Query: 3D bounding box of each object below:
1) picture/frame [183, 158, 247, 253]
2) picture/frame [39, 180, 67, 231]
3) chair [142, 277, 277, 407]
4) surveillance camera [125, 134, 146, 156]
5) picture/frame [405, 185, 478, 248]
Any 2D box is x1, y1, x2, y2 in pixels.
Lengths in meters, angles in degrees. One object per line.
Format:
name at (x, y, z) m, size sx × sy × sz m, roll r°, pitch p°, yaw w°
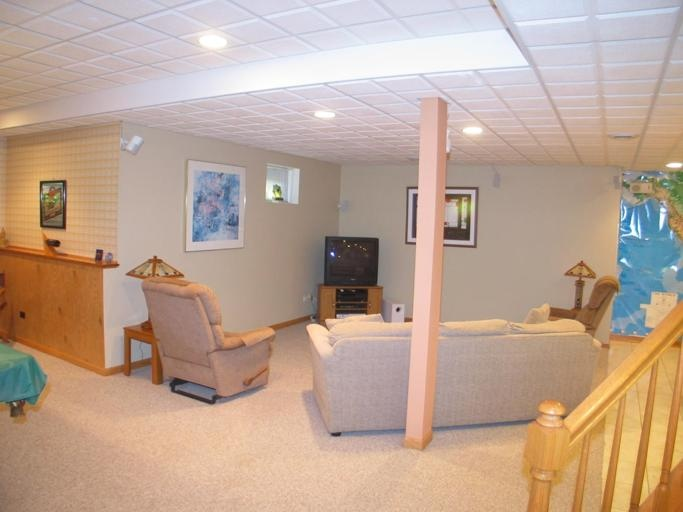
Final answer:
picture/frame at (-1.673, -0.668, 6.589) m, size 0.199 × 1.198 × 1.051 m, roll 7°, pitch 11°, yaw 25°
picture/frame at (-3.587, -0.645, 6.148) m, size 0.608 × 0.663 × 0.047 m, roll 9°, pitch 6°, yaw 34°
chair at (-1.381, 0.846, 5.248) m, size 1.038 × 1.136 × 1.198 m, roll 4°, pitch 1°, yaw 30°
surveillance camera at (-2.304, -1.242, 5.484) m, size 0.193 × 0.215 × 0.322 m, roll -2°, pitch 11°, yaw -22°
picture/frame at (1.399, -0.523, 6.387) m, size 1.162 × 0.926 × 0.050 m, roll 3°, pitch 7°, yaw 23°
